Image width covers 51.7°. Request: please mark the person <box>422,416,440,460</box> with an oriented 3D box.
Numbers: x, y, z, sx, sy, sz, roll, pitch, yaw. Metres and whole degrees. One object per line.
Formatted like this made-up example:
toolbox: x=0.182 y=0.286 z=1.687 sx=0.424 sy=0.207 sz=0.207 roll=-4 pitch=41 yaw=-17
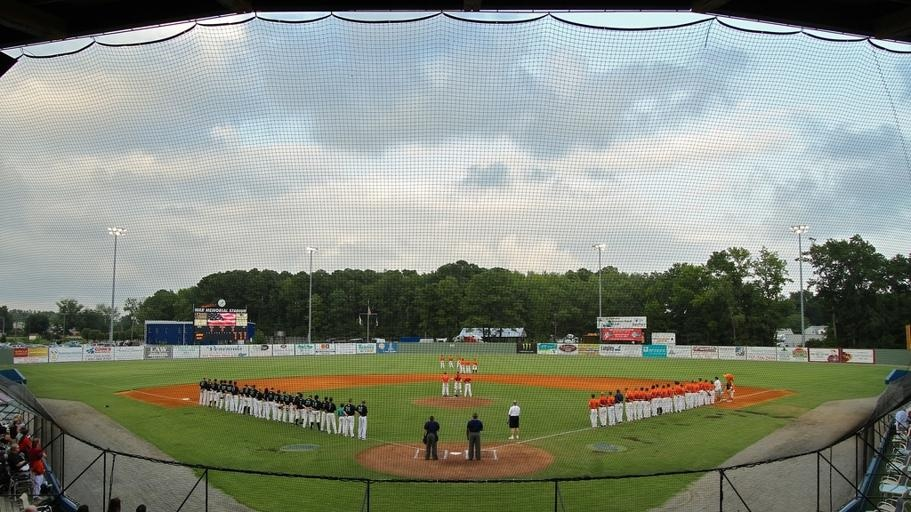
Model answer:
person: x=-1.541 y=10.659 z=55.099 sx=0.858 sy=2.405 sz=0.809 roll=1 pitch=2 yaw=-2
